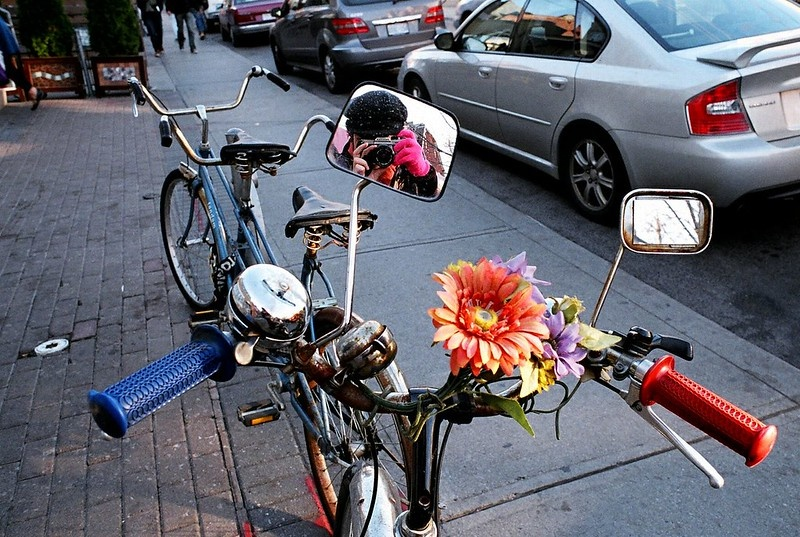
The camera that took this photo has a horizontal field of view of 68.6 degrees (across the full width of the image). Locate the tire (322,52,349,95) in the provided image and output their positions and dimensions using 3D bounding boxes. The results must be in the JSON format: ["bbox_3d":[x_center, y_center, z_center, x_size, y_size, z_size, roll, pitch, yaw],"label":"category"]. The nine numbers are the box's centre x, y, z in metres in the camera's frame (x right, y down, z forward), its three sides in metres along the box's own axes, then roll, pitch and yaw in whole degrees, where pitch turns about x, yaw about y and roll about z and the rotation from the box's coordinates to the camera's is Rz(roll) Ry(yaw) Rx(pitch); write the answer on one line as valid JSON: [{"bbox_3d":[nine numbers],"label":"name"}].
[{"bbox_3d":[-1.192,-3.659,10.961,0.231,0.731,0.702,-10,17,-29],"label":"tire"}]

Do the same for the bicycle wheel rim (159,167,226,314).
[{"bbox_3d":[-1.668,-0.185,4.708,0.285,1.107,1.019,-15,36,-42],"label":"bicycle wheel rim"}]

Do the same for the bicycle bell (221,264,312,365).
[{"bbox_3d":[-0.473,0.143,2.100,0.265,0.228,0.236,-22,43,-28],"label":"bicycle bell"}]

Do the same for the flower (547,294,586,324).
[{"bbox_3d":[0.541,0.131,1.935,0.054,0.099,0.097,-45,18,-28],"label":"flower"}]

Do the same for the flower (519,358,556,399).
[{"bbox_3d":[0.433,0.345,1.861,0.121,0.130,0.034,-13,34,-38],"label":"flower"}]

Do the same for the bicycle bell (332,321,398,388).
[{"bbox_3d":[-0.121,0.305,2.044,0.198,0.211,0.105,-2,36,-4],"label":"bicycle bell"}]
